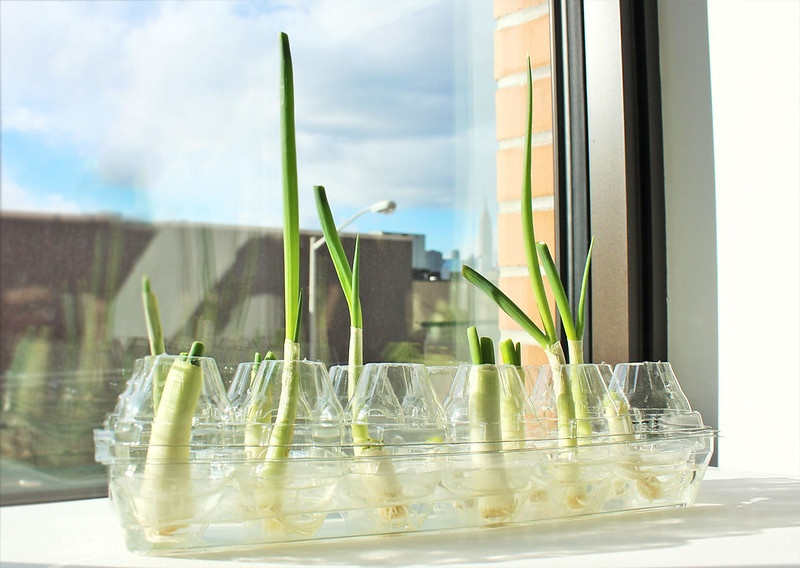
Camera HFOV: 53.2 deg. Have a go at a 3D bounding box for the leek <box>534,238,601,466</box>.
[{"bbox_3d":[0.293,0.111,1.368,0.063,0.285,0.058,-5,-4,-2],"label":"leek"}]

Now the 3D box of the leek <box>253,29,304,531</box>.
[{"bbox_3d":[-0.182,-0.021,1.269,0.056,0.744,0.206,1,-8,-8],"label":"leek"}]

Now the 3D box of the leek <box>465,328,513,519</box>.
[{"bbox_3d":[0.143,0.227,1.281,0.054,0.314,0.060,-5,-13,16],"label":"leek"}]
